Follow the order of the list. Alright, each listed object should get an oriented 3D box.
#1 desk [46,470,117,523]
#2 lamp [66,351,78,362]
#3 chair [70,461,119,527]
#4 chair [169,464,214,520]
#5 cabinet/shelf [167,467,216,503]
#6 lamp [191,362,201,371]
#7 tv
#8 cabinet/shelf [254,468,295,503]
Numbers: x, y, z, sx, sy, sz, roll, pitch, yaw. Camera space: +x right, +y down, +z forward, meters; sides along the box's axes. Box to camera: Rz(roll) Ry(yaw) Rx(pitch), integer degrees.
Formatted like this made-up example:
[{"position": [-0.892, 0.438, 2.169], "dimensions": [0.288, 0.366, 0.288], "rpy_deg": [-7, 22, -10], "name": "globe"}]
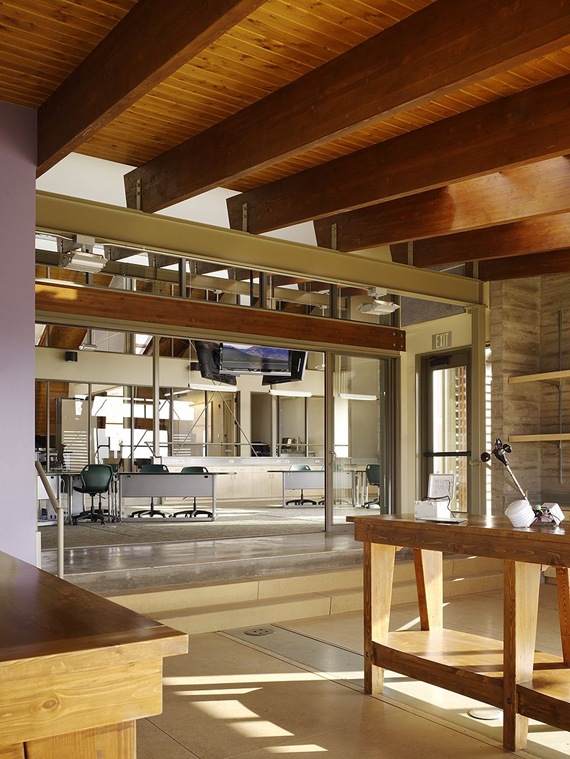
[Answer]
[{"position": [-3.037, 1.699, 10.001], "dimensions": [0.902, 0.764, 1.165], "rpy_deg": [1, -1, -24], "name": "desk"}, {"position": [-3.902, -0.423, 12.004], "dimensions": [0.186, 0.227, 0.242], "rpy_deg": [0, 2, -30], "name": "lamp"}, {"position": [-2.842, 1.710, 9.690], "dimensions": [0.679, 0.814, 0.691], "rpy_deg": [-2, -14, -13], "name": "chair"}, {"position": [-1.477, 1.815, 10.539], "dimensions": [0.621, 0.798, 0.567], "rpy_deg": [-3, -10, -14], "name": "chair"}, {"position": [-1.382, 1.521, 9.565], "dimensions": [0.589, 0.341, 0.589], "rpy_deg": [1, -3, -2], "name": "cabinet/shelf"}, {"position": [-1.784, -0.278, 13.090], "dimensions": [0.222, 0.195, 0.114], "rpy_deg": [1, -4, -31], "name": "lamp"}, {"position": [-0.513, -0.282, 10.230], "dimensions": [1.455, 0.718, 0.940], "rpy_deg": [3, -5, -5], "name": "tv"}, {"position": [-0.245, 2.321, 14.368], "dimensions": [0.615, 0.507, 1.100], "rpy_deg": [3, -5, -23], "name": "cabinet/shelf"}]
